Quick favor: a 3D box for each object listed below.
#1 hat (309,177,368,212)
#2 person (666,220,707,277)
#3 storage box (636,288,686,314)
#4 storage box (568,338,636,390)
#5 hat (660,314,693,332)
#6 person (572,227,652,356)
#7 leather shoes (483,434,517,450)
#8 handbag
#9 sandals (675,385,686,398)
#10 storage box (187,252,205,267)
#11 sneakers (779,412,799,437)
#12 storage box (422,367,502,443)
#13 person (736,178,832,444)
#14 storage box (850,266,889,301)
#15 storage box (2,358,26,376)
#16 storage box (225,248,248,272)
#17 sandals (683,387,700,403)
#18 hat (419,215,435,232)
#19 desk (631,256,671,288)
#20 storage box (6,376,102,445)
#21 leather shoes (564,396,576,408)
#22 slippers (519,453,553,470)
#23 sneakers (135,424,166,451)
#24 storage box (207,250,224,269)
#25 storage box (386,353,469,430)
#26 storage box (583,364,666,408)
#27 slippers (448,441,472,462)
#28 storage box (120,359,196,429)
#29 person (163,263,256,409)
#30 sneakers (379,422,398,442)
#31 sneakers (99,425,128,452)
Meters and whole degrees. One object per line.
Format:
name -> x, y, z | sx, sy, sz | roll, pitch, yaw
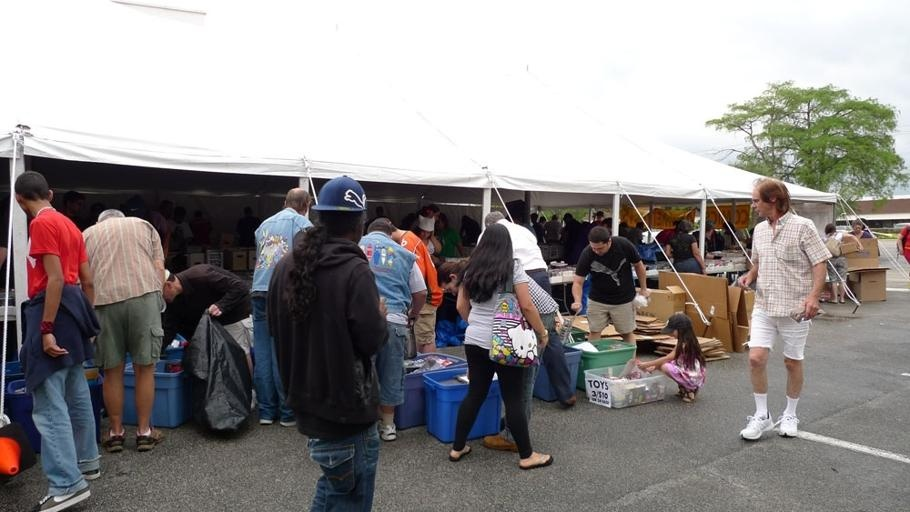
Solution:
hat -> -1.000, -0.578, 5.673 | 0.482, 0.296, 0.530 | 3, 14, -15
person -> 4.302, 0.123, 11.777 | 0.582, 1.647, 0.523 | 3, 24, 34
storage box -> 3.252, 0.728, 10.035 | 0.459, 0.279, 0.155 | 7, 16, 42
storage box -> 1.965, 1.386, 8.478 | 0.877, 0.493, 0.587 | -4, 6, -29
hat -> 2.877, 0.886, 8.339 | 0.261, 0.208, 0.361 | -11, 8, -36
person -> 2.056, 0.618, 8.838 | 1.230, 2.095, 0.856 | -7, 14, -8
leather shoes -> 0.514, 2.103, 7.221 | 0.367, 0.167, 0.152 | 8, -2, 4
handbag -> 0.619, 0.771, 6.804 | 0.706, 0.849, 0.416 | 8, -5, -42
sandals -> 2.889, 1.751, 8.234 | 0.152, 0.149, 0.083 | -6, 3, -7
storage box -> -4.146, 0.056, 10.187 | 0.229, 0.207, 0.212 | -2, 5, -29
sneakers -> 3.842, 1.960, 7.339 | 0.174, 0.131, 0.354 | -7, -5, 25
storage box -> 0.021, 1.715, 7.406 | 0.882, 0.602, 0.774 | 1, -1, -33
person -> 3.765, 0.590, 7.335 | 0.949, 2.204, 0.672 | -3, 1, 28
storage box -> 9.201, 0.620, 14.132 | 0.809, 0.530, 0.792 | -2, -3, 20
storage box -> -5.140, 1.295, 7.402 | 0.282, 0.176, 0.270 | 2, -8, -33
storage box -> -3.712, 0.052, 10.938 | 0.399, 0.354, 0.382 | -3, -1, 20
sandals -> 3.013, 1.777, 8.187 | 0.279, 0.261, 0.115 | -3, 13, 19
hat -> -0.437, -0.491, 9.856 | 0.233, 0.138, 0.261 | 1, 4, -9
desk -> 3.672, 0.293, 11.833 | 0.956, 0.374, 0.560 | 3, -3, -42
storage box -> -4.447, 1.640, 7.084 | 0.880, 0.636, 0.860 | -5, -3, 31
leather shoes -> 1.437, 1.813, 7.964 | 0.135, 0.115, 0.152 | 15, -29, 9
slippers -> 0.883, 2.246, 6.916 | 0.318, 0.199, 0.148 | -7, 9, -6
sneakers -> -3.411, 2.051, 7.148 | 0.158, 0.163, 0.350 | 0, 1, -1
storage box -> -3.826, 0.050, 10.149 | 0.227, 0.304, 0.324 | 0, -1, 30
storage box -> -0.364, 1.615, 7.695 | 0.916, 0.540, 0.651 | -2, 3, -39
storage box -> 2.189, 1.680, 8.125 | 0.836, 0.271, 0.509 | -2, 4, -26
slippers -> 0.058, 2.163, 7.022 | 0.123, 0.101, 0.254 | 3, 10, 30
storage box -> -3.473, 1.636, 7.654 | 0.698, 0.565, 0.805 | 0, 2, 5
person -> -2.986, 0.952, 7.714 | 1.131, 1.625, 0.760 | -6, -25, -18
sneakers -> -0.762, 2.021, 7.269 | 0.123, 0.113, 0.253 | -1, 7, -5
sneakers -> -3.779, 2.049, 7.045 | 0.159, 0.146, 0.321 | 1, -1, -25
